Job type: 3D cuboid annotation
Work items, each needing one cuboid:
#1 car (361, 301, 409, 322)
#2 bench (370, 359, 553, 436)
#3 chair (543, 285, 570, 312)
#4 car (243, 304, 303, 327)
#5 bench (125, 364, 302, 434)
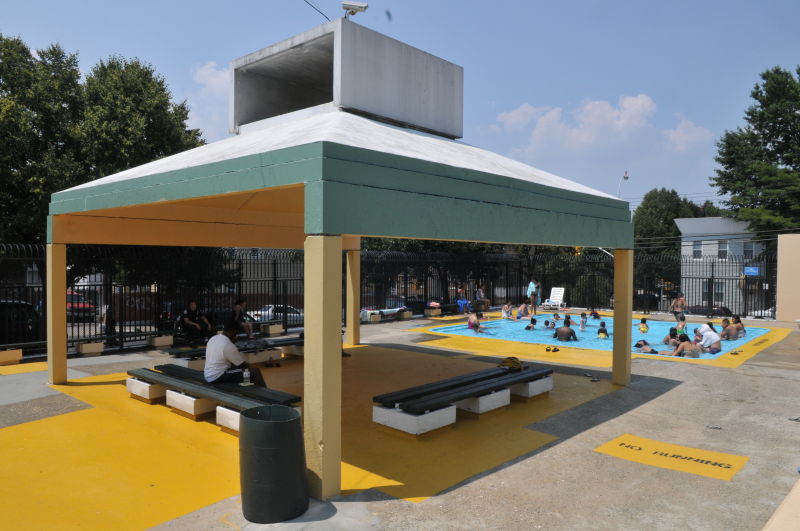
[{"bbox_3d":[-0.848,2.385,27.620,1.365,0.620,3.303,8,11,41],"label":"car"},{"bbox_3d":[1.410,2.963,12.509,4.122,0.737,1.030,-5,10,-33],"label":"bench"},{"bbox_3d":[8.984,1.909,32.942,1.241,1.497,1.485,-2,1,-44],"label":"chair"},{"bbox_3d":[-5.630,2.368,25.193,2.329,0.810,1.104,-3,1,-10],"label":"car"},{"bbox_3d":[-4.296,2.852,12.362,4.721,0.864,0.983,7,11,37],"label":"bench"}]
